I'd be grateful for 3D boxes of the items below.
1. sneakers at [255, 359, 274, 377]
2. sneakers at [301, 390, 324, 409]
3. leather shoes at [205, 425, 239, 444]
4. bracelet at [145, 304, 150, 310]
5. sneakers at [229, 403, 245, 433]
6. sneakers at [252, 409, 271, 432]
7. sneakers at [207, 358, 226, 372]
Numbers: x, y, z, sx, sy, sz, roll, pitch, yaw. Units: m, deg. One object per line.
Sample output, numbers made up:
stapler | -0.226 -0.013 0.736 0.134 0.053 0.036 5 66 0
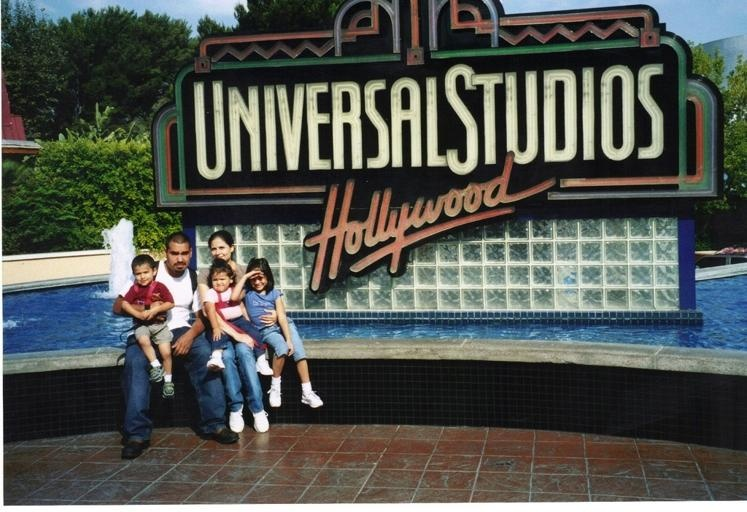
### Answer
sneakers | -1.522 1.573 10.104 0.296 0.129 0.148 2 6 34
sneakers | -0.837 2.040 10.183 0.310 0.150 0.197 5 10 29
leather shoes | -2.064 2.436 9.804 0.518 0.172 0.197 1 1 29
bracelet | -3.073 0.701 9.868 0.097 0.084 0.054 -2 4 -12
sneakers | -1.852 2.287 9.885 0.167 0.167 0.395 -1 4 -12
sneakers | -1.556 2.336 10.047 0.159 0.150 0.352 -15 51 -8
sneakers | -2.131 1.506 9.888 0.233 0.210 0.131 -2 4 -13
